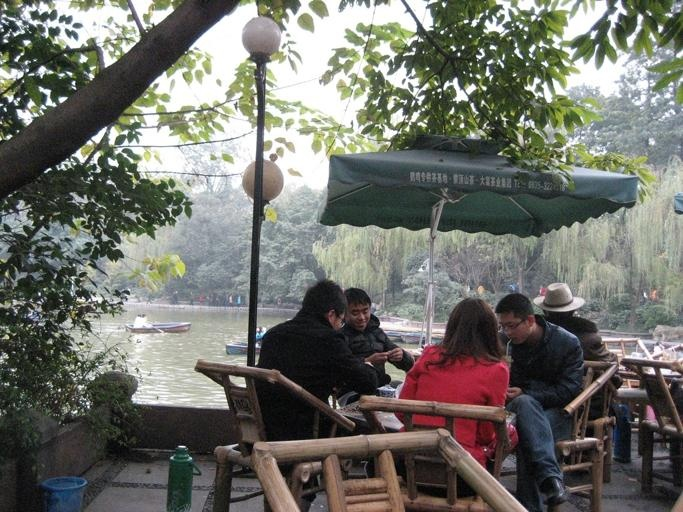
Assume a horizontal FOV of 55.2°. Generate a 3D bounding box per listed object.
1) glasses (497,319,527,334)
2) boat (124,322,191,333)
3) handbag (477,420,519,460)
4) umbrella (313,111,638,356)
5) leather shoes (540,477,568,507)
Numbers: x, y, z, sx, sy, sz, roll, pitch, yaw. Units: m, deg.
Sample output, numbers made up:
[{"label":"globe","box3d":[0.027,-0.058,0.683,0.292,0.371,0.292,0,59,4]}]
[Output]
[{"label":"glasses","box3d":[1.215,0.496,4.600,0.173,0.058,0.164,0,-11,-45]},{"label":"boat","box3d":[-8.952,3.528,31.664,2.832,0.630,2.227,6,-6,-26]},{"label":"handbag","box3d":[0.958,1.057,3.862,0.330,0.133,0.250,0,-5,-39]},{"label":"umbrella","box3d":[0.988,-0.227,5.552,2.247,2.076,1.992,1,-4,-6]},{"label":"leather shoes","box3d":[1.323,1.470,4.047,0.158,0.216,0.207,1,-5,26]}]
